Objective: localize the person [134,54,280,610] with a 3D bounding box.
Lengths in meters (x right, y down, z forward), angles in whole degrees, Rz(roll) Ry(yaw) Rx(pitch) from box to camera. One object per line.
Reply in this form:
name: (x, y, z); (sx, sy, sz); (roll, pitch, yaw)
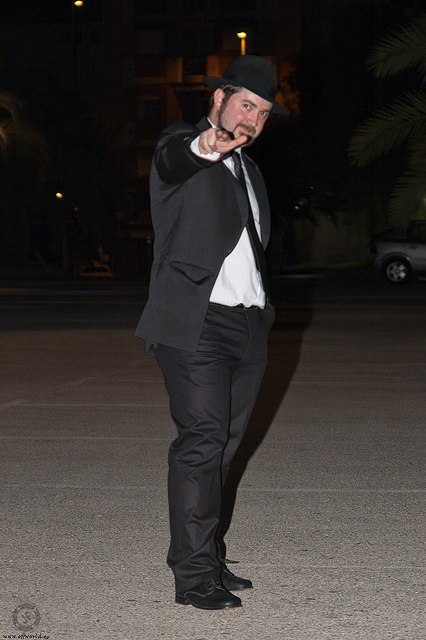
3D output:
person: (-0.024, 0.026, 2.703); (0.545, 2.090, 1.348); (1, -3, 3)
